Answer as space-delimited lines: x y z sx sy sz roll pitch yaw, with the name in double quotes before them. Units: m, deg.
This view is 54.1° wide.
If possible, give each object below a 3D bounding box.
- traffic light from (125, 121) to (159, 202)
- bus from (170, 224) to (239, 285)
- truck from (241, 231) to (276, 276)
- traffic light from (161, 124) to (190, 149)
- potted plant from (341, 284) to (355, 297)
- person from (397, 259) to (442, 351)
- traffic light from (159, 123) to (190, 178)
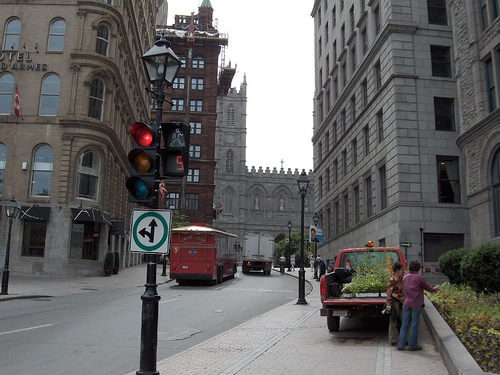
"traffic light" -2.173 -0.531 9.886 0.609 1.726 0.351 1 -10 -7
"bus" -3.067 4.888 35.784 2.897 4.144 9.651 0 -7 9
"truck" 0.761 7.212 52.968 3.060 4.477 6.775 3 -7 2
"traffic light" -1.564 -1.045 10.064 0.456 0.515 0.397 0 3 18
"potted plant" 2.776 2.983 14.103 0.378 0.334 0.385 -4 -12 18
"person" 4.224 2.962 12.309 0.869 2.204 0.858 0 -10 35
"traffic light" -1.574 -0.810 10.085 0.587 1.212 0.555 0 -10 -2
